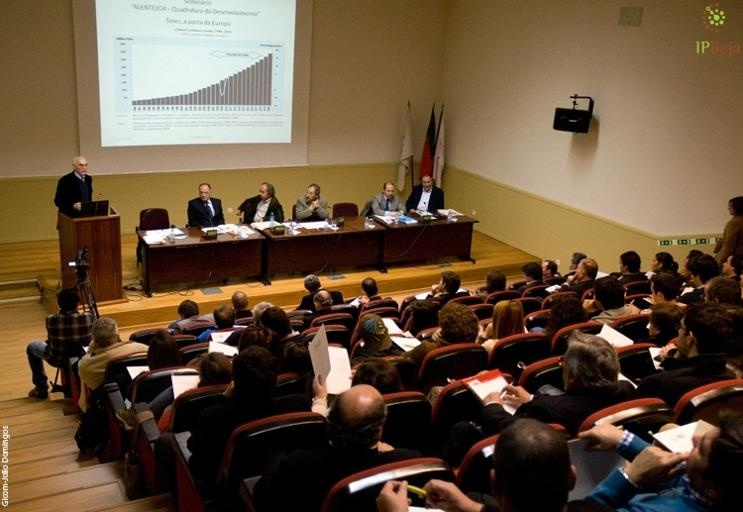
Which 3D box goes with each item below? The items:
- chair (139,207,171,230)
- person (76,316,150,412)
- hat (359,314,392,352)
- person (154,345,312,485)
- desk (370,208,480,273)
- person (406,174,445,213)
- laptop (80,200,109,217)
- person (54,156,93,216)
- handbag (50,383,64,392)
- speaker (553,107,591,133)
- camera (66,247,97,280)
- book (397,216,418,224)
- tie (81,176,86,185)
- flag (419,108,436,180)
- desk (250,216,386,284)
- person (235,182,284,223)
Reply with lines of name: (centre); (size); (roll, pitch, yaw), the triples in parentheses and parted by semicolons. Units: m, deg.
chair: (-3.546, -0.619, 8.184); (0.363, 0.470, 0.399); (-6, 14, -28)
person: (-2.229, 0.946, 4.267); (0.562, 0.985, 0.707); (-4, 43, -36)
hat: (0.027, 0.640, 4.052); (0.202, 0.169, 0.313); (-26, 61, -12)
person: (-0.801, 0.954, 2.952); (0.597, 0.940, 0.703); (-12, 34, -32)
desk: (0.943, -0.238, 9.061); (1.637, 0.817, 0.998); (-6, 26, -12)
person: (1.018, -1.204, 9.643); (0.732, 0.683, 0.663); (-2, 10, -6)
laptop: (-3.693, -0.628, 6.662); (0.227, 0.166, 0.061); (-11, 29, -34)
person: (-4.374, -1.057, 7.319); (0.488, 0.828, 1.578); (-6, 11, -29)
handbag: (-3.407, 1.429, 5.425); (0.119, 0.047, 0.193); (5, -12, -23)
speaker: (3.509, -2.379, 8.739); (0.574, 0.424, 0.201); (3, 10, 22)
camera: (-3.708, 0.068, 6.417); (0.465, 0.388, 0.184); (-37, -16, 29)
book: (0.648, -0.646, 8.919); (0.325, 0.115, 0.386); (-1, 10, 3)
tie: (-4.338, -1.141, 7.520); (0.117, 0.123, 0.029); (0, -3, -34)
flag: (1.323, -2.678, 11.530); (0.381, 1.617, 0.711); (0, 10, 8)
desk: (-0.945, -0.277, 8.744); (1.737, 0.875, 1.087); (-7, 31, -16)
person: (-1.892, -0.909, 8.560); (0.728, 0.665, 0.573); (0, 10, 4)
